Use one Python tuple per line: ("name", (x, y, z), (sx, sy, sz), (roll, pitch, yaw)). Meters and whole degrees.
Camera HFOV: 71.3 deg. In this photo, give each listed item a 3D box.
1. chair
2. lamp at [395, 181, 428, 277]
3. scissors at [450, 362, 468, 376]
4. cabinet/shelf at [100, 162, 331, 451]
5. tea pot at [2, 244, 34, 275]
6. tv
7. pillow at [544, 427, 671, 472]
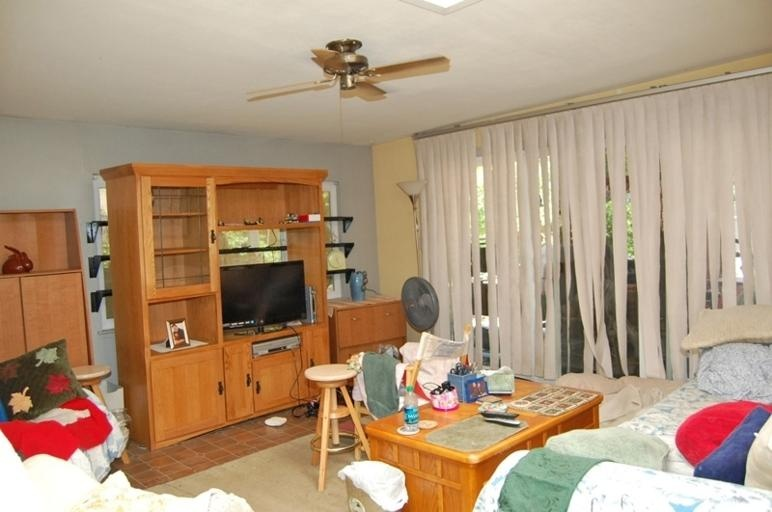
("chair", (0.271, 0.911, 4.170), (0.625, 0.794, 0.676), (0, 0, 45))
("lamp", (0.350, -0.314, 6.816), (0.324, 0.949, 0.588), (-2, 1, 4))
("scissors", (0.547, 0.847, 4.042), (0.102, 0.077, 0.092), (-4, 1, -9))
("cabinet/shelf", (-1.706, 0.447, 5.738), (2.173, 2.713, 0.702), (-3, 1, -37))
("tea pot", (-3.447, 0.065, 5.043), (0.229, 0.278, 0.296), (3, 3, 32))
("tv", (-1.357, 0.449, 5.860), (0.265, 0.704, 1.085), (2, 4, 43))
("pillow", (1.277, 1.048, 2.993), (0.388, 0.118, 0.426), (-4, -7, 44))
